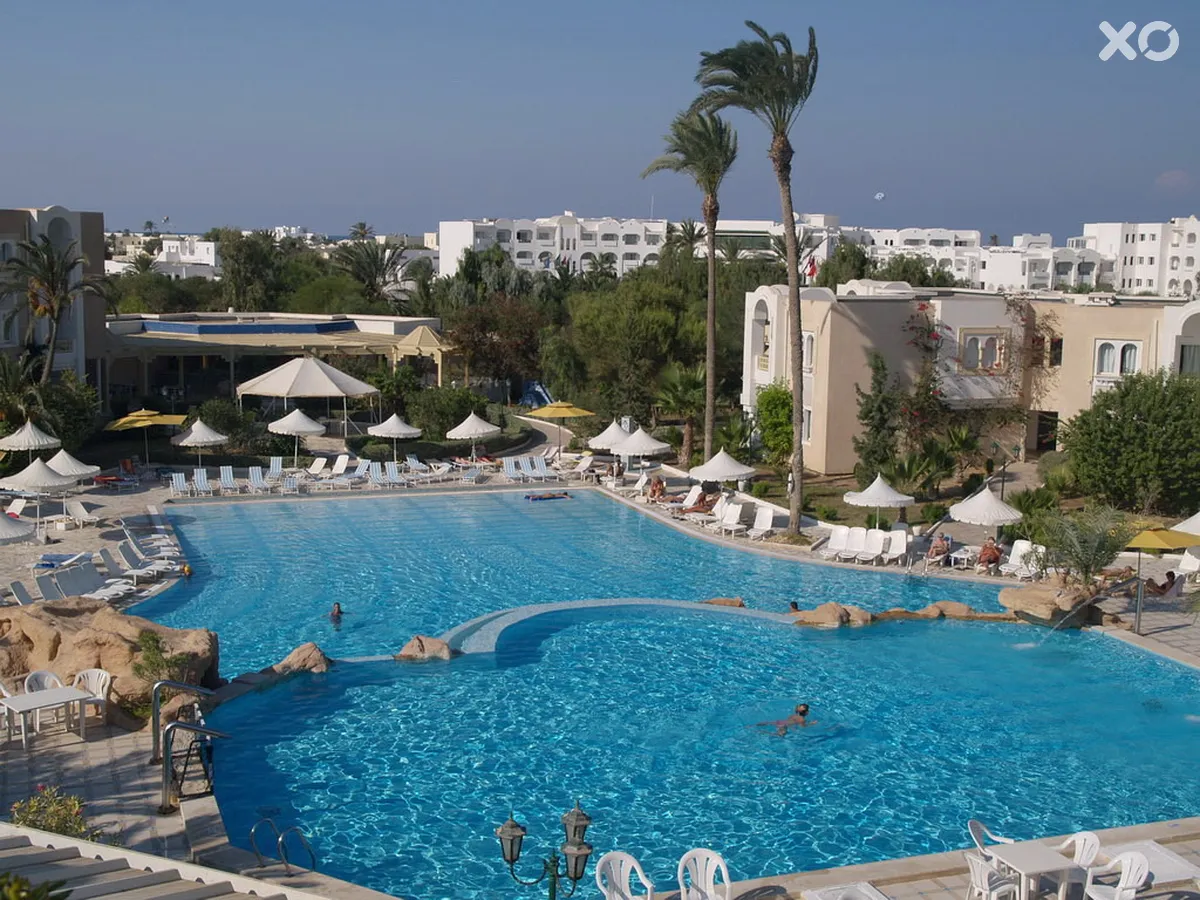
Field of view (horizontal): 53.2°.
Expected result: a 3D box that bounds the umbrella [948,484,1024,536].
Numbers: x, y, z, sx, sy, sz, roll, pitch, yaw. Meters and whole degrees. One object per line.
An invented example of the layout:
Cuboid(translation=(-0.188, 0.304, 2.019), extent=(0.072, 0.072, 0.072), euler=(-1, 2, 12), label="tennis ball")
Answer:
Cuboid(translation=(9.938, 1.554, 31.555), extent=(1.693, 0.802, 1.416), euler=(-3, 12, -20), label="umbrella")

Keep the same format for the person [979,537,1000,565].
Cuboid(translation=(10.381, 2.677, 31.981), extent=(0.728, 0.708, 0.569), euler=(6, 17, 25), label="person")

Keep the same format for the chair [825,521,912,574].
Cuboid(translation=(7.302, 2.660, 33.179), extent=(1.733, 0.693, 1.055), euler=(2, 5, 26), label="chair")

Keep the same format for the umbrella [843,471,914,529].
Cuboid(translation=(7.723, 1.691, 33.841), extent=(1.835, 1.872, 1.851), euler=(4, 9, 34), label="umbrella")

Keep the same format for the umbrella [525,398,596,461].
Cuboid(translation=(-1.837, -0.560, 48.456), extent=(2.633, 2.528, 2.678), euler=(0, 12, 5), label="umbrella")

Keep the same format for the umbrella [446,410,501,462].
Cuboid(translation=(-4.647, -0.237, 44.569), extent=(2.027, 2.157, 2.117), euler=(-2, 9, -5), label="umbrella")

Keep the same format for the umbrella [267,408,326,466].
Cuboid(translation=(-11.261, -0.146, 44.026), extent=(2.164, 2.334, 2.410), euler=(-2, 10, -9), label="umbrella")

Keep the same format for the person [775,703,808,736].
Cuboid(translation=(3.692, 5.025, 22.950), extent=(0.535, 0.372, 1.133), euler=(6, 12, 24), label="person")

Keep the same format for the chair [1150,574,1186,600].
Cuboid(translation=(14.002, 3.353, 29.718), extent=(0.525, 0.364, 0.814), euler=(-2, 8, -17), label="chair")
